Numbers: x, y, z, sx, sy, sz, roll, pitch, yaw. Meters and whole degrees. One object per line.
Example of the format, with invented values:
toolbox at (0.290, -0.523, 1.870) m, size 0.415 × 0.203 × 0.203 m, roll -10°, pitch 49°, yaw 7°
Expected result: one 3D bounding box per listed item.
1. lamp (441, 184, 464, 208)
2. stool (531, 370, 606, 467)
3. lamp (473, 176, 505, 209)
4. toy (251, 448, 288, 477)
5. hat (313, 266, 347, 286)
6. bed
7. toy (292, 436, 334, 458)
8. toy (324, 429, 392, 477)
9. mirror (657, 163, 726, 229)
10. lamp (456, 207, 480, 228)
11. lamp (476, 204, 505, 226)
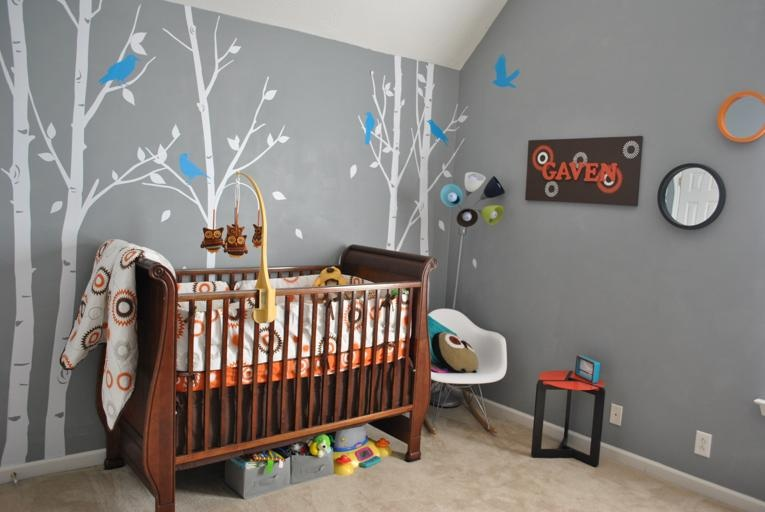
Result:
lamp at (0.548, -0.489, 4.737) m, size 0.138 × 0.173 × 0.151 m, roll 3°, pitch 5°, yaw 20°
stool at (1.231, 1.137, 4.335) m, size 0.549 × 0.709 × 0.605 m, roll 2°, pitch -5°, yaw 11°
lamp at (0.838, -0.535, 4.716) m, size 0.231 × 0.208 × 0.200 m, roll 4°, pitch 5°, yaw 29°
toy at (-0.707, 1.266, 3.704) m, size 0.142 × 0.179 × 0.054 m, roll -17°, pitch -11°, yaw -27°
hat at (-0.380, 0.139, 4.325) m, size 0.188 × 0.156 × 0.134 m, roll -6°, pitch 3°, yaw -25°
bed at (-0.820, 0.137, 4.117) m, size 2.439 × 1.820 × 1.386 m, roll -3°, pitch 8°, yaw -33°
toy at (-0.457, 1.189, 3.831) m, size 0.186 × 0.083 × 0.152 m, roll -2°, pitch -3°, yaw 21°
toy at (-0.161, 1.323, 3.977) m, size 0.291 × 0.093 × 0.307 m, roll 2°, pitch 5°, yaw 43°
mirror at (2.013, -0.393, 3.852) m, size 0.367 × 0.434 × 0.033 m, roll 14°, pitch 5°, yaw 42°
lamp at (0.682, -0.310, 4.804) m, size 0.158 × 0.160 × 0.249 m, roll 2°, pitch 4°, yaw 12°
lamp at (0.856, -0.341, 4.714) m, size 0.181 × 0.155 × 0.245 m, roll 2°, pitch 4°, yaw 9°
